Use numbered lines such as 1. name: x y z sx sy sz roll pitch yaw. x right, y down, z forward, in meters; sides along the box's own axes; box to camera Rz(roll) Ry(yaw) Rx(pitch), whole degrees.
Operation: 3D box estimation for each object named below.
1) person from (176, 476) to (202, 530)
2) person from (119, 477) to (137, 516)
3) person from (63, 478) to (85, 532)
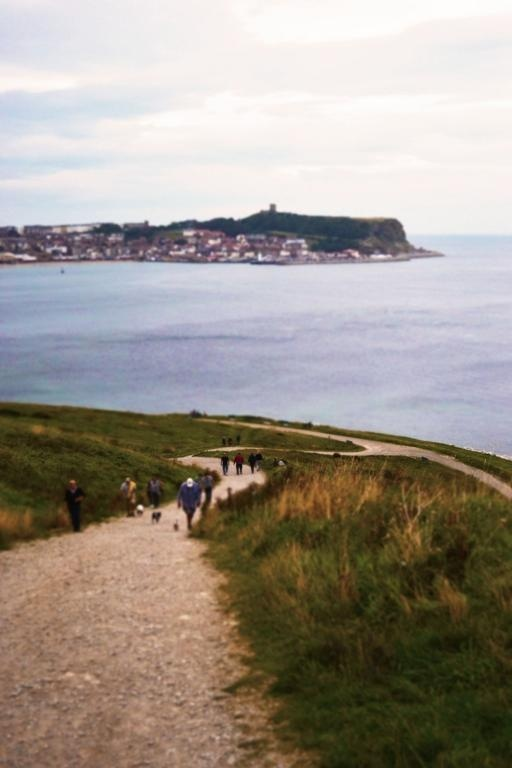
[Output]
1. person: -1.336 2.372 15.762 0.426 1.237 0.378 5 27 4
2. person: -3.099 2.725 19.222 0.327 0.609 1.077 -5 4 -12
3. person: -3.586 2.426 15.619 0.323 0.727 0.701 -5 4 -14
